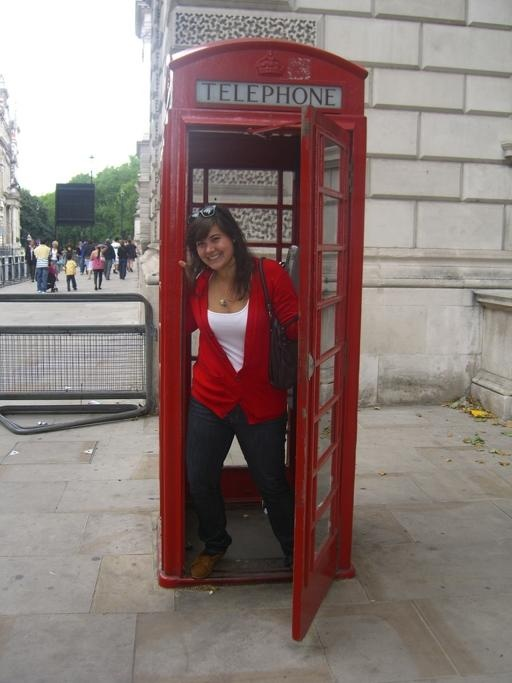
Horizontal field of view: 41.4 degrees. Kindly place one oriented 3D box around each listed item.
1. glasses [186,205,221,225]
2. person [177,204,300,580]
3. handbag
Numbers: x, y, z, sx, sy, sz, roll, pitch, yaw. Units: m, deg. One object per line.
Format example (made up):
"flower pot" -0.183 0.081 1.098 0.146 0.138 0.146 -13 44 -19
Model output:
"glasses" -0.253 -0.552 2.985 0.112 0.072 0.272 -3 7 -29
"person" -0.074 0.271 2.999 0.500 1.702 0.393 1 6 1
"handbag" 0.089 -0.070 2.922 0.175 0.559 0.141 1 6 3
